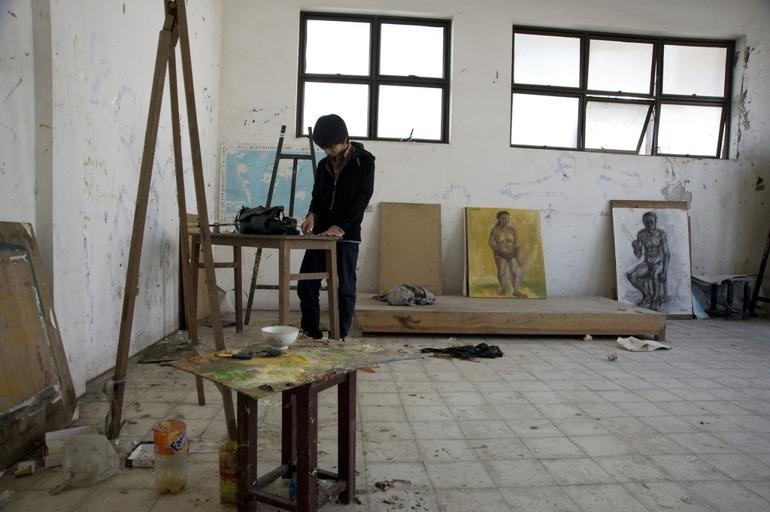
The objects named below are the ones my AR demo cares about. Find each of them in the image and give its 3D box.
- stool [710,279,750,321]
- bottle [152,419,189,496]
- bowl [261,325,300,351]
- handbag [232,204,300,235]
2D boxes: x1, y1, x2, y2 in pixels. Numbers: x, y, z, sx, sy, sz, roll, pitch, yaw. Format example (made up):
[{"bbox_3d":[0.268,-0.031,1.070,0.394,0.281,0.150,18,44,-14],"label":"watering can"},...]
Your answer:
[{"bbox_3d":[4.218,0.534,7.056,0.412,0.477,0.407,10,-1,-25],"label":"stool"},{"bbox_3d":[-1.263,1.203,3.456,0.205,0.361,0.208,0,-2,0],"label":"bottle"},{"bbox_3d":[-0.620,0.472,3.471,0.163,0.087,0.162,-2,5,0],"label":"bowl"},{"bbox_3d":[-0.911,-0.264,4.496,0.374,0.149,0.261,4,4,25],"label":"handbag"}]
